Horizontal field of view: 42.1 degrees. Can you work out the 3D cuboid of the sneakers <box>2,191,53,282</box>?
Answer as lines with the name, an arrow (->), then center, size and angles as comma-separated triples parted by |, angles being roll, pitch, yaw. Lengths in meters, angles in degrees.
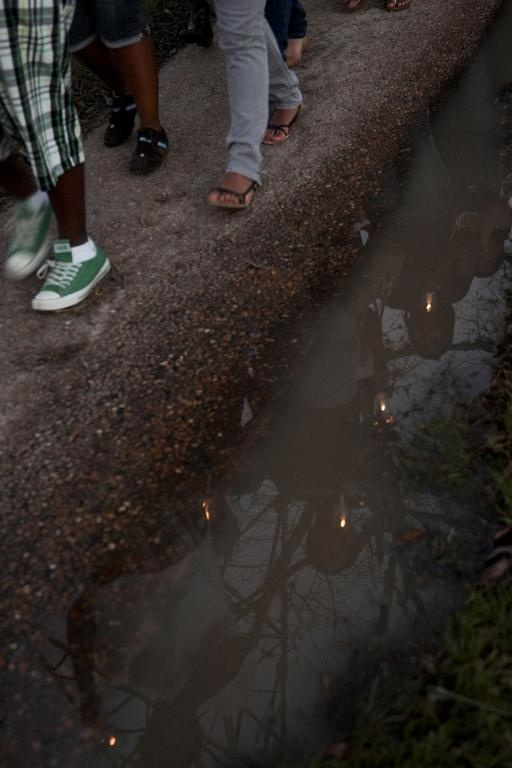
sneakers -> -0.973, -0.622, 2.812 | 0.144, 0.170, 0.437 | 9, 82, 3

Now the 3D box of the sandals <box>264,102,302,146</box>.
sandals -> 0.139, -1.327, 3.429 | 0.112, 0.065, 0.274 | 23, 76, 15

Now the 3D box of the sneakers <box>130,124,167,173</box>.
sneakers -> -0.514, -1.206, 3.350 | 0.111, 0.141, 0.318 | 8, 51, 6
